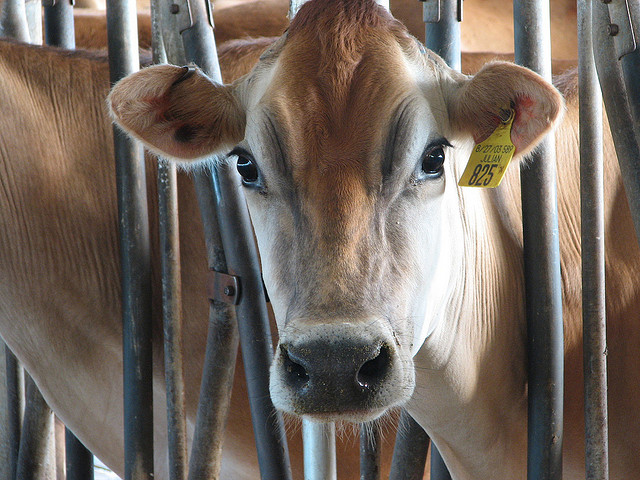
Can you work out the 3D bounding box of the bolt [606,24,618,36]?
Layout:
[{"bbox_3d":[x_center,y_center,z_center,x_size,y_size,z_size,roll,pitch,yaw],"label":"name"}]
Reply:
[{"bbox_3d":[1.356,-0.968,6.119,0.032,0.055,0.082,0,15,-14],"label":"bolt"}]

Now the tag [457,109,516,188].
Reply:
[{"bbox_3d":[0.871,-0.453,6.537,0.251,0.022,0.538,-1,50,38],"label":"tag"}]

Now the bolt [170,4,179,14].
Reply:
[{"bbox_3d":[-0.719,-1.125,6.488,0.036,0.044,0.009,4,11,24],"label":"bolt"}]
